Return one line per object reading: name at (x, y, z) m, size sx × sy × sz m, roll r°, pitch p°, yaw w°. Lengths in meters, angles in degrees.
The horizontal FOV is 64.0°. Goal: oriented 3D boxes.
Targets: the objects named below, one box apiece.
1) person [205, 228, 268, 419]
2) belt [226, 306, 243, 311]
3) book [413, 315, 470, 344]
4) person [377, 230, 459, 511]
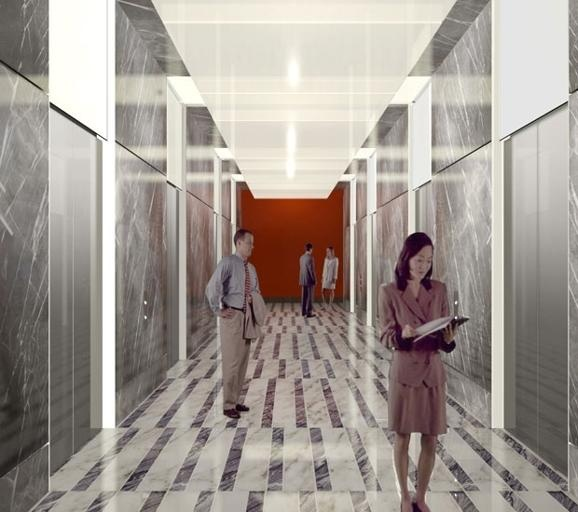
person at (-0.554, 0.701, 4.861) m, size 0.599 × 1.954 × 0.320 m, roll -1°, pitch -3°, yaw -15°
belt at (-0.562, 0.549, 4.759) m, size 0.198 × 0.050 × 0.068 m, roll -2°, pitch -3°, yaw -13°
book at (0.897, 0.449, 2.787) m, size 0.283 × 0.157 × 0.270 m, roll -3°, pitch -3°, yaw 9°
person at (0.825, 0.766, 2.985) m, size 0.452 × 1.829 × 0.455 m, roll -2°, pitch -3°, yaw 13°
